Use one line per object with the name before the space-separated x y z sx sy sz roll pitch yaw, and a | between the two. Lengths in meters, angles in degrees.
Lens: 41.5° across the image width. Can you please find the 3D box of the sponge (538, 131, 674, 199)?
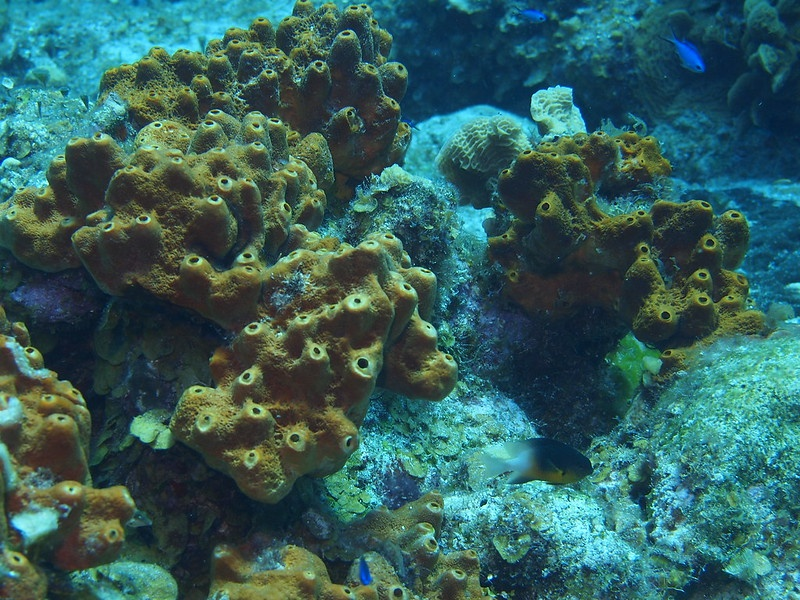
sponge | 2.028 -1.355 10.122 0.761 0.342 0.807 29 22 -4
